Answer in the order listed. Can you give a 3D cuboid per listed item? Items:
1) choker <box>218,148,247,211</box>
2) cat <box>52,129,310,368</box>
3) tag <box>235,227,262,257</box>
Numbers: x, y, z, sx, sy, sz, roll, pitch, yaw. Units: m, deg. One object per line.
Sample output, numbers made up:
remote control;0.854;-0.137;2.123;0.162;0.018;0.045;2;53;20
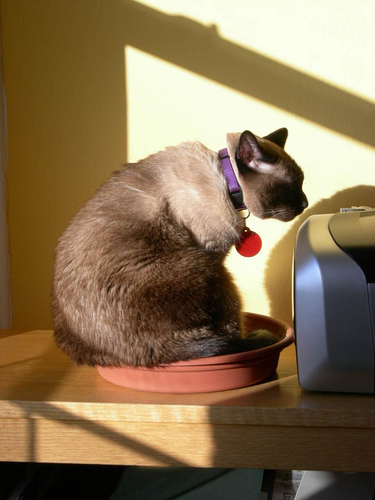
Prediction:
choker;0.064;-0.111;0.760;0.030;0.096;0.046;-5;7;-34
cat;-0.007;-0.010;0.767;0.438;0.289;0.258;-8;9;-3
tag;0.093;-0.013;0.768;0.042;0.046;0.036;-1;5;-2
